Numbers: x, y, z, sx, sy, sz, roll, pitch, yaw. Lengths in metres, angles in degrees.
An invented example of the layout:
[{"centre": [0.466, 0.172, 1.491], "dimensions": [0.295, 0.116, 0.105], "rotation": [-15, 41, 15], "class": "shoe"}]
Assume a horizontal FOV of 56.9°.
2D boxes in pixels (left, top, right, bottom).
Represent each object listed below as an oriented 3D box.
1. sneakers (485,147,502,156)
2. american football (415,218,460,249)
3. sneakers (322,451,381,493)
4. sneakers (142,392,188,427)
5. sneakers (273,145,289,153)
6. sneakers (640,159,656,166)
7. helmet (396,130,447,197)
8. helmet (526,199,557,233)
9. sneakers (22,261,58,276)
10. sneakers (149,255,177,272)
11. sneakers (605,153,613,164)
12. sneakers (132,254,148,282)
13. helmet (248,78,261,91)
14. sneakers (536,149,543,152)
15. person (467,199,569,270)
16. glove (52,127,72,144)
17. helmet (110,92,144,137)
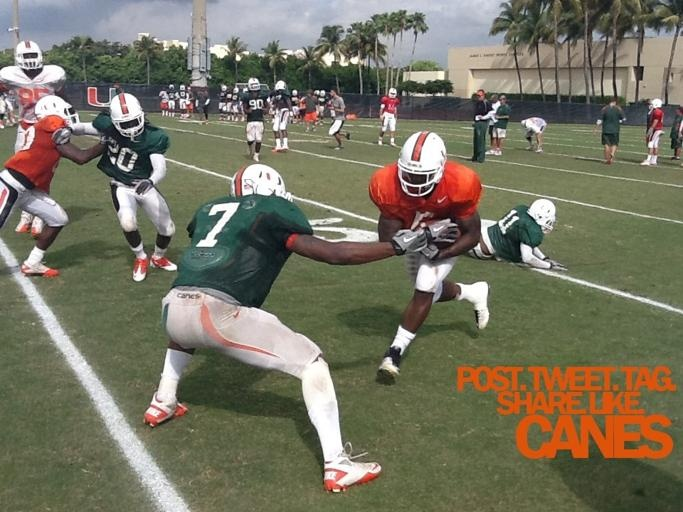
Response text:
[{"centre": [4.730, -3.238, 19.615], "dimensions": [0.262, 0.259, 0.611], "rotation": [-1, 15, 4], "class": "sneakers"}, {"centre": [0.740, -0.160, 4.566], "dimensions": [0.350, 0.197, 0.152], "rotation": [-8, 11, -9], "class": "american football"}, {"centre": [0.067, 1.409, 4.165], "dimensions": [0.484, 0.205, 0.173], "rotation": [2, -13, -45], "class": "sneakers"}, {"centre": [-1.259, 1.115, 4.698], "dimensions": [0.140, 0.178, 0.396], "rotation": [8, 14, 26], "class": "sneakers"}, {"centre": [-1.774, -3.187, 18.793], "dimensions": [0.549, 0.211, 0.190], "rotation": [-9, 12, -26], "class": "sneakers"}, {"centre": [9.051, -2.756, 18.661], "dimensions": [0.458, 0.175, 0.149], "rotation": [2, 13, 14], "class": "sneakers"}, {"centre": [0.651, -0.791, 5.092], "dimensions": [0.419, 0.402, 0.516], "rotation": [6, 41, 9], "class": "helmet"}, {"centre": [2.365, -0.473, 7.507], "dimensions": [0.323, 0.397, 0.206], "rotation": [1, 15, 4], "class": "helmet"}, {"centre": [-3.436, 0.141, 7.248], "dimensions": [0.413, 0.172, 0.152], "rotation": [-1, 35, -21], "class": "sneakers"}, {"centre": [-2.173, 0.075, 7.698], "dimensions": [0.405, 0.155, 0.196], "rotation": [10, 33, -12], "class": "sneakers"}, {"centre": [7.897, -2.876, 18.597], "dimensions": [0.152, 0.397, 0.285], "rotation": [4, -28, 8], "class": "sneakers"}, {"centre": [-2.304, 0.128, 7.223], "dimensions": [0.129, 0.153, 0.347], "rotation": [-3, 49, -8], "class": "sneakers"}, {"centre": [-2.403, -4.765, 17.362], "dimensions": [0.320, 0.261, 0.496], "rotation": [-8, 36, -20], "class": "helmet"}, {"centre": [6.644, -3.539, 21.172], "dimensions": [0.177, 0.079, 0.240], "rotation": [3, 11, 11], "class": "sneakers"}, {"centre": [1.846, -0.312, 7.794], "dimensions": [1.860, 0.731, 0.799], "rotation": [5, 18, 15], "class": "person"}, {"centre": [-3.160, -1.354, 7.140], "dimensions": [0.220, 0.187, 0.186], "rotation": [-8, 17, -28], "class": "glove"}, {"centre": [-2.447, -1.652, 7.101], "dimensions": [0.380, 0.314, 0.524], "rotation": [-16, 4, -21], "class": "helmet"}]
